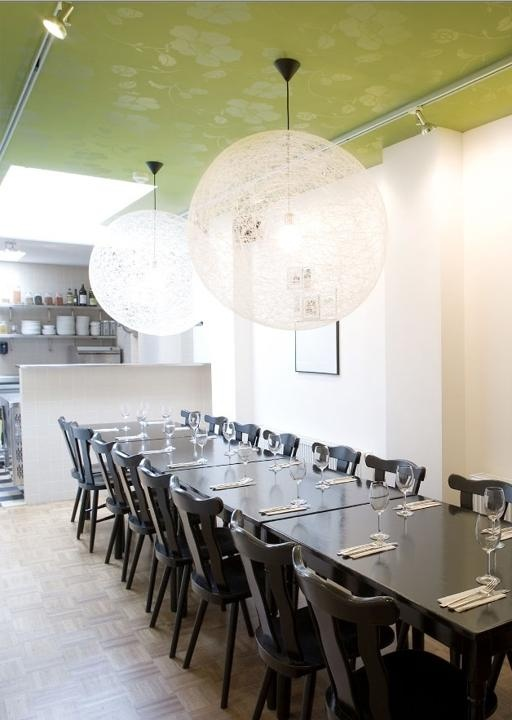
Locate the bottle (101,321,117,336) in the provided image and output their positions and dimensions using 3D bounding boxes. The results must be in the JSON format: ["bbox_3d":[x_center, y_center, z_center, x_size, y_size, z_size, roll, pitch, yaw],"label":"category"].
[{"bbox_3d":[-2.214,-0.482,8.419,0.254,0.250,0.194,0,1,-12],"label":"bottle"}]

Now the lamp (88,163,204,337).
[{"bbox_3d":[-0.746,-0.579,3.441,0.757,1.073,0.771,3,5,41],"label":"lamp"}]

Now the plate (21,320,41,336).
[{"bbox_3d":[-3.171,-0.452,7.842,0.218,0.190,0.225,0,0,32],"label":"plate"}]

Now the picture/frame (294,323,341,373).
[{"bbox_3d":[0.545,-0.102,4.727,0.028,0.425,0.432,1,-1,-31],"label":"picture/frame"}]

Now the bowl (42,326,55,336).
[{"bbox_3d":[-2.981,-0.430,7.935,0.141,0.116,0.162,-1,-6,-7],"label":"bowl"}]

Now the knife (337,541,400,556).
[{"bbox_3d":[0.364,0.613,1.826,0.203,0.023,0.066,-1,4,-34],"label":"knife"}]

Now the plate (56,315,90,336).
[{"bbox_3d":[-2.694,-0.551,8.156,0.348,0.230,0.351,0,6,-8],"label":"plate"}]

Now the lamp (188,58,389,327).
[{"bbox_3d":[0.141,-0.697,2.267,0.817,1.167,0.830,4,-1,13],"label":"lamp"}]
